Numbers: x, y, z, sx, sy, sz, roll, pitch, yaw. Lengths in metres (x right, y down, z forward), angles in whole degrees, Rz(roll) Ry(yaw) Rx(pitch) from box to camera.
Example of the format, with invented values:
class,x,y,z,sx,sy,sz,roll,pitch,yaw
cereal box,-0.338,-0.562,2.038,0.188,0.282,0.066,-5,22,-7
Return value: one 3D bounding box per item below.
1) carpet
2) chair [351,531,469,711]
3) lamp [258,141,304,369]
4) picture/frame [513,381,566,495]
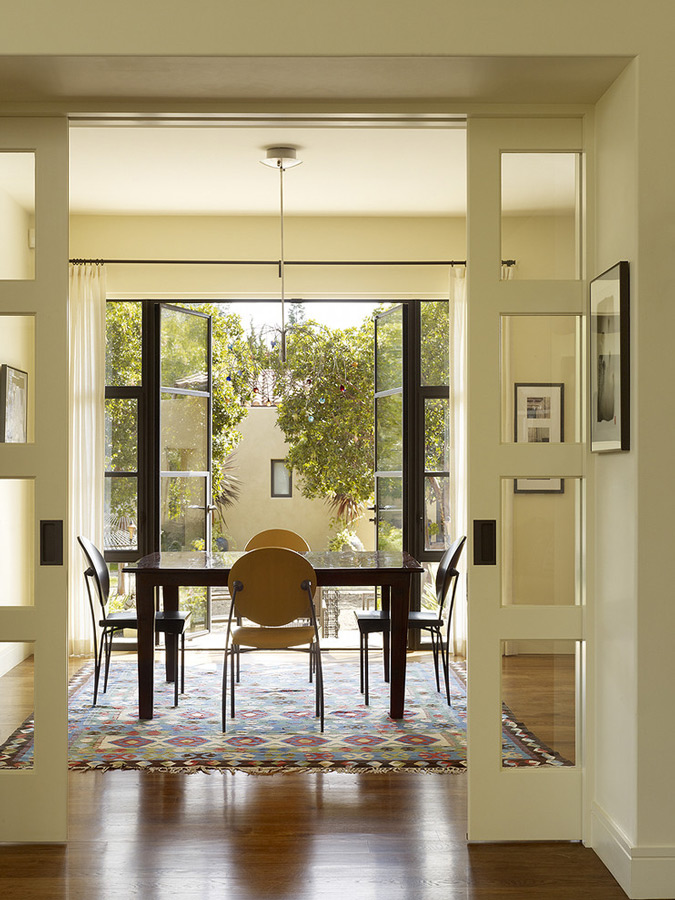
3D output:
class,x,y,z,sx,sy,sz,roll,pitch,yaw
carpet,-0.320,1.272,4.414,2.302,0.046,2.274,-2,-2,33
chair,0.437,0.919,5.093,0.743,1.373,0.676,1,-5,-1
lamp,-0.285,-1.204,4.661,0.166,0.802,0.185,-2,-24,2
picture/frame,0.638,-0.037,2.866,0.179,0.354,0.049,0,-2,-19
